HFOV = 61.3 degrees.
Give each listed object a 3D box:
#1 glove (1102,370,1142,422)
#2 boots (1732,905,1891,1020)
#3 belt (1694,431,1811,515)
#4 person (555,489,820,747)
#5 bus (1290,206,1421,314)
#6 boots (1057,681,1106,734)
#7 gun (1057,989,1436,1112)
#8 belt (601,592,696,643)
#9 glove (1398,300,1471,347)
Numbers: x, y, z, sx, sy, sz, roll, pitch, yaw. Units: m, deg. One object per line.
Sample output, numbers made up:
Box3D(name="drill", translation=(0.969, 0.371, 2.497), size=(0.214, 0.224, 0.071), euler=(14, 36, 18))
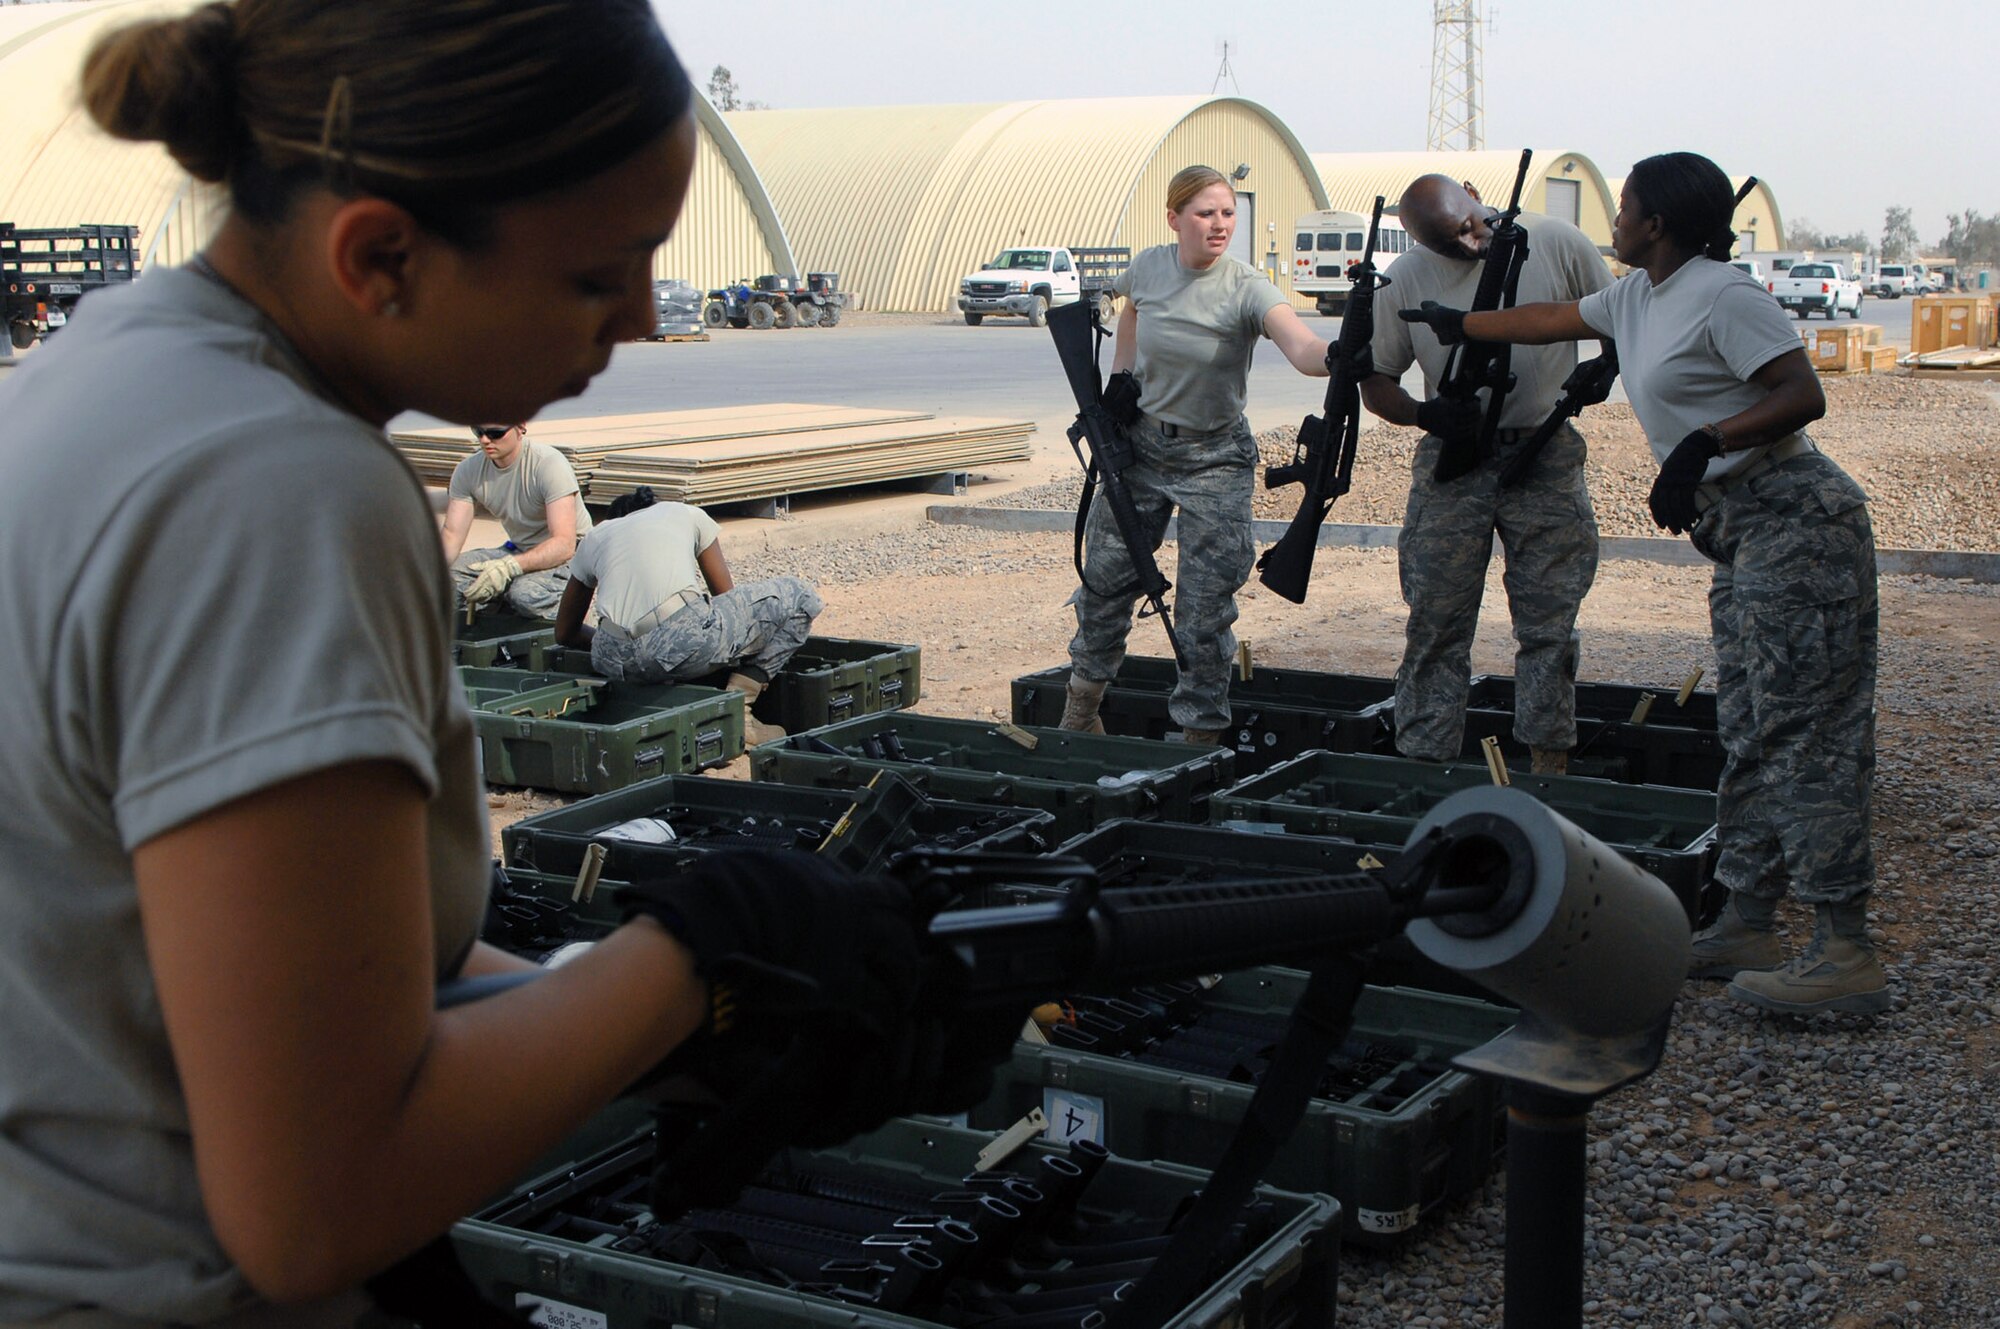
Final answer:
Box3D(name="glove", translation=(0.491, -1.070, 6.817), size=(0.133, 0.117, 0.214), euler=(28, -19, 13))
Box3D(name="boots", translation=(2.202, 0.853, 4.788), size=(0.536, 0.370, 0.205), euler=(0, 2, 8))
Box3D(name="belt", translation=(2.172, -0.569, 4.852), size=(0.276, 0.099, 0.201), euler=(-25, -9, 3))
Box3D(name="person", translation=(-1.400, -0.289, 7.461), size=(1.081, 1.156, 0.768), euler=(-13, -12, 12))
Box3D(name="bus", translation=(9.498, -10.029, 41.816), size=(4.249, 2.380, 2.235), euler=(-13, 19, -38))
Box3D(name="boots", translation=(0.321, 0.190, 6.833), size=(0.205, 0.267, 0.210), euler=(3, 10, 7))
Box3D(name="gun", translation=(0.652, 0.944, 4.162), size=(0.667, 0.151, 0.690), euler=(7, 12, 37))
Box3D(name="belt", translation=(-1.476, -0.198, 7.113), size=(0.256, 0.085, 0.221), euler=(-20, 2, -16))
Box3D(name="glove", translation=(1.590, -1.236, 6.126), size=(0.190, 0.052, 0.181), euler=(10, 13, -23))
